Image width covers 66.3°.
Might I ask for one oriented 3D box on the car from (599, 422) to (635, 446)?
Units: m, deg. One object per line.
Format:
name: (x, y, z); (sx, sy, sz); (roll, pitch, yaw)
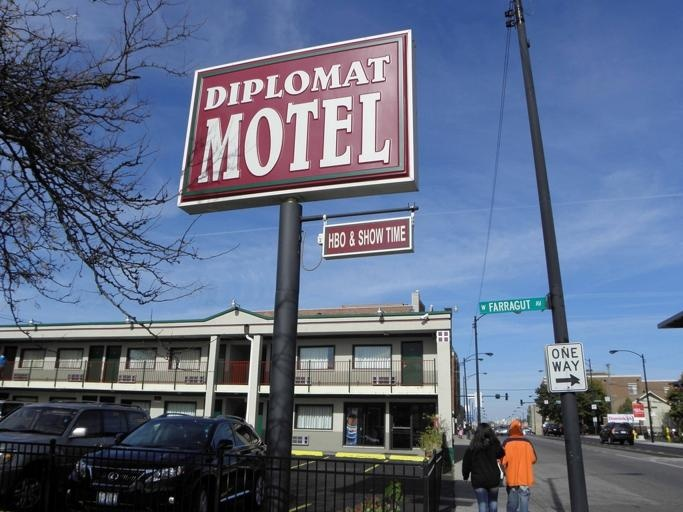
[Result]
car: (24.739, 15.943, 47.111); (1.670, 1.415, 2.931); (-3, -8, 16)

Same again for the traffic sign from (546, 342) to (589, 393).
traffic sign: (4.232, 2.093, 9.903); (0.674, 0.920, 0.295); (-7, -16, 22)
